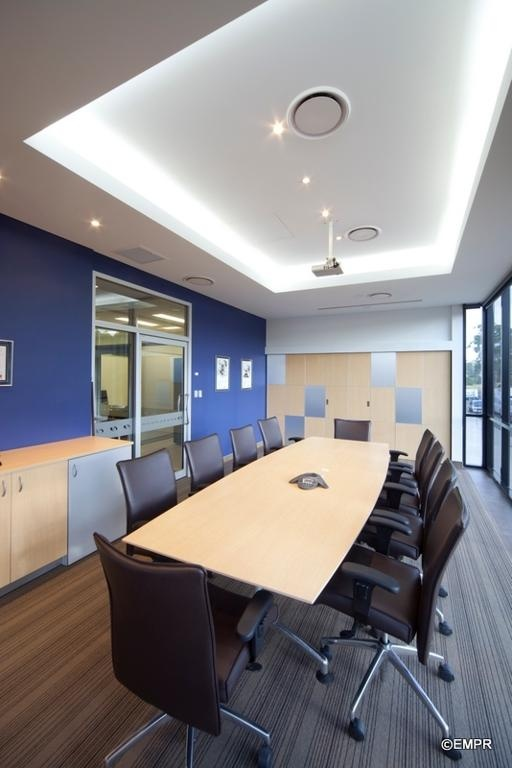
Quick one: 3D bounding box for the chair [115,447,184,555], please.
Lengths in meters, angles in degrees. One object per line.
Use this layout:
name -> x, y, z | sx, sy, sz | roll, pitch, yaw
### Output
chair -> -0.621, 0.878, 2.863 | 0.329, 0.758, 0.382 | -12, 24, -22

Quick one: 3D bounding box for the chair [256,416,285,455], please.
chair -> 0.218, 0.590, 5.301 | 0.286, 0.591, 0.316 | -1, -2, -41

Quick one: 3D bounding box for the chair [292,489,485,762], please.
chair -> 0.687, 0.939, 2.388 | 0.732, 1.312, 0.917 | 3, 1, 22

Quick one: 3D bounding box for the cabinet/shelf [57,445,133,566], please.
cabinet/shelf -> -1.305, 0.905, 3.753 | 0.243, 0.879, 0.765 | 9, 10, 27
